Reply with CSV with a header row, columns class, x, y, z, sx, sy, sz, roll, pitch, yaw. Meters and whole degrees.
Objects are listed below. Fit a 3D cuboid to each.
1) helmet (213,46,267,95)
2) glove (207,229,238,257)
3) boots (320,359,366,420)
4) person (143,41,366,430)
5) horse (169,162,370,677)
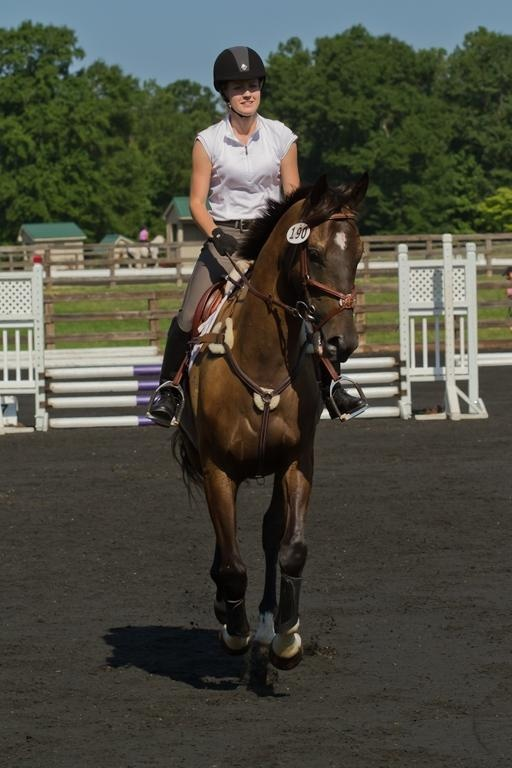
class,x,y,z,sx,sy,sz,roll,pitch,yaw
helmet,-0.080,-1.575,5.810,0.254,0.223,0.237,0,4,3
glove,-0.142,-0.666,5.458,0.107,0.147,0.052,-39,-5,2
boots,0.440,0.034,6.027,0.157,0.278,0.275,-34,20,-18
person,-0.001,-0.740,5.788,1.115,1.892,0.913,-1,14,-3
horse,0.016,0.293,5.704,0.639,2.043,2.801,1,-7,-7
